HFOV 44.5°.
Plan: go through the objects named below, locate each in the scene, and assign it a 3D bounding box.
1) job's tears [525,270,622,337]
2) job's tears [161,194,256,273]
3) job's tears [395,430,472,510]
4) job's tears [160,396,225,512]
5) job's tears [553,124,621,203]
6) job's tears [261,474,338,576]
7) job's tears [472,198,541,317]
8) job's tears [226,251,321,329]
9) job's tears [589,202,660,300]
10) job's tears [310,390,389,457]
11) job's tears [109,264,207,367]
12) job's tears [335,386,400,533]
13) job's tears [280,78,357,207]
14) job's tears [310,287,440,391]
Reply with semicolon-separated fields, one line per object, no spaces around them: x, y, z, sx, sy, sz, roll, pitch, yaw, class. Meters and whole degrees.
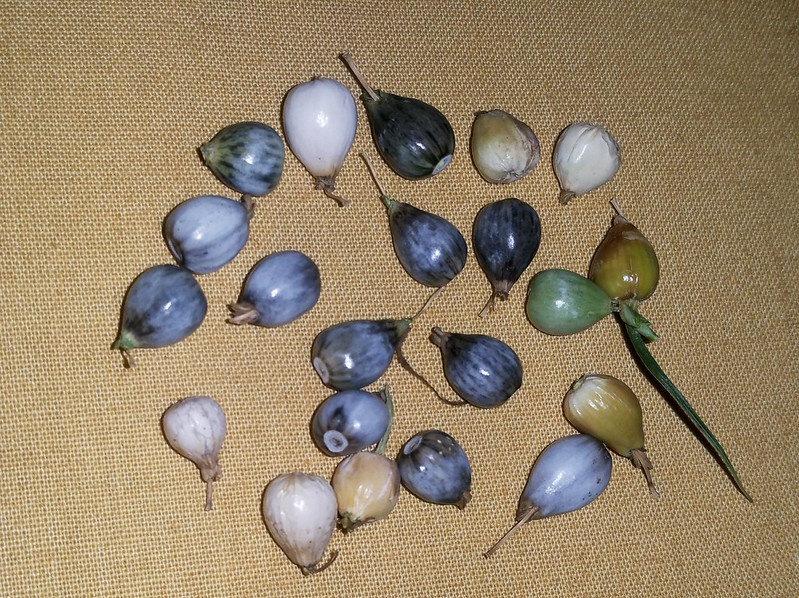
0.278;-0.002;1.626;0.144;0.114;0.143;13;-76;41;job's tears
-0.296;-0.104;1.517;0.120;0.099;0.105;-30;-109;-19;job's tears
0.055;0.271;1.606;0.097;0.093;0.123;-44;-85;8;job's tears
-0.308;0.259;1.529;0.082;0.194;0.095;19;-50;-42;job's tears
0.303;-0.225;1.618;0.091;0.059;0.130;32;-89;-12;job's tears
-0.150;0.347;1.514;0.091;0.070;0.170;-14;-94;-5;job's tears
0.177;-0.069;1.598;0.114;0.061;0.177;-8;-76;4;job's tears
-0.190;-0.006;1.527;0.131;0.065;0.109;-34;-90;-17;job's tears
0.382;-0.081;1.631;0.072;0.089;0.182;-21;-95;50;job's tears
-0.075;0.194;1.525;0.097;0.083;0.108;-3;-94;-20;job's tears
-0.379;0.011;1.549;0.110;0.160;0.149;8;-55;42;job's tears
-0.039;0.267;1.587;0.080;0.244;0.099;9;-32;16;job's tears
-0.130;-0.270;1.609;0.104;0.118;0.248;31;-46;36;job's tears
-0.061;0.074;1.540;0.179;0.057;0.087;-40;-90;-15;job's tears
